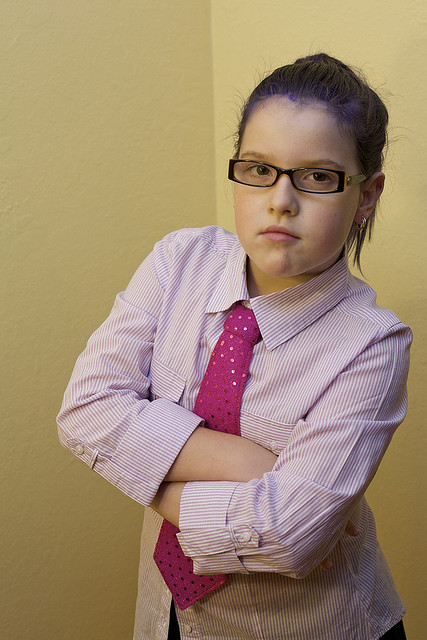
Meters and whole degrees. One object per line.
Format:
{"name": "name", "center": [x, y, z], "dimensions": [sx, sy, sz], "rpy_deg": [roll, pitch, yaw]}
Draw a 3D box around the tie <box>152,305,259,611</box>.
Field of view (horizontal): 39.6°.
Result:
{"name": "tie", "center": [-0.027, 0.263, 0.824], "dimensions": [0.103, 0.358, 0.036], "rpy_deg": [19, 21, 21]}
